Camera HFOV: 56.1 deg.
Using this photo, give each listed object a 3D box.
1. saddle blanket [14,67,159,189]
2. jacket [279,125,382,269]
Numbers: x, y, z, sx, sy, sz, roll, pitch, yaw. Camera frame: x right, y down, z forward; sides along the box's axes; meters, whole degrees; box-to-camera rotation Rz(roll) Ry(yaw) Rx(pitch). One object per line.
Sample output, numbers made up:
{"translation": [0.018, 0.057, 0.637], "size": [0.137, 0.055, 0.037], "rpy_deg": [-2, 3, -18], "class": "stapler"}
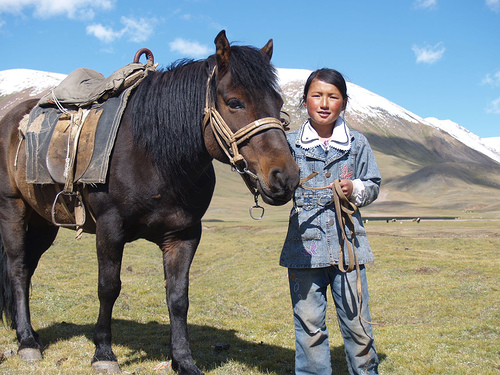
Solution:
{"translation": [-3.183, -0.891, 8.286], "size": [2.286, 1.785, 0.799], "rpy_deg": [1, 1, 29], "class": "saddle blanket"}
{"translation": [1.233, 0.136, 7.431], "size": [1.515, 2.293, 0.574], "rpy_deg": [0, 0, 3], "class": "jacket"}
